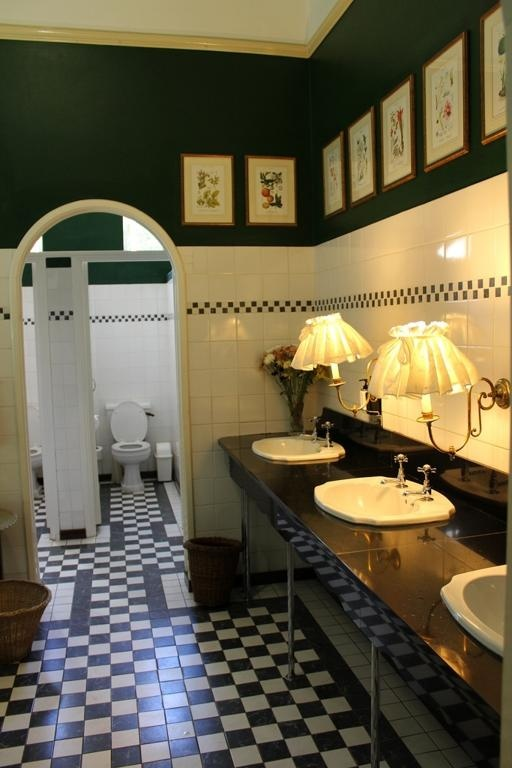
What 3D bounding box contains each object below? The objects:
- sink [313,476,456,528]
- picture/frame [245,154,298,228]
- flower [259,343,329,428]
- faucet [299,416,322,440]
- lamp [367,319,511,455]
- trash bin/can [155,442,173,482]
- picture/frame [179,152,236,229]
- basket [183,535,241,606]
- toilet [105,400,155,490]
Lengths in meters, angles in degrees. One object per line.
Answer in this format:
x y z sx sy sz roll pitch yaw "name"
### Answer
0.396 0.399 1.850 0.380 0.117 0.457 -3 4 -8 "sink"
0.075 -1.162 3.347 0.388 0.524 0.032 -2 8 -10 "picture/frame"
0.223 0.009 3.349 0.335 0.453 0.358 -2 -2 -34 "flower"
0.313 0.246 3.151 0.105 0.154 0.150 0 1 -28 "faucet"
0.577 -0.012 1.789 0.438 0.483 0.357 -2 2 -27 "lamp"
-0.949 0.821 5.859 0.171 0.400 0.197 -3 4 -12 "trash bin/can"
-0.297 -1.132 3.255 0.398 0.536 0.033 -1 7 -9 "picture/frame"
-0.238 1.054 3.181 0.289 0.325 0.301 0 -1 10 "basket"
-1.240 0.620 5.676 0.428 0.866 0.591 -3 4 -13 "toilet"
